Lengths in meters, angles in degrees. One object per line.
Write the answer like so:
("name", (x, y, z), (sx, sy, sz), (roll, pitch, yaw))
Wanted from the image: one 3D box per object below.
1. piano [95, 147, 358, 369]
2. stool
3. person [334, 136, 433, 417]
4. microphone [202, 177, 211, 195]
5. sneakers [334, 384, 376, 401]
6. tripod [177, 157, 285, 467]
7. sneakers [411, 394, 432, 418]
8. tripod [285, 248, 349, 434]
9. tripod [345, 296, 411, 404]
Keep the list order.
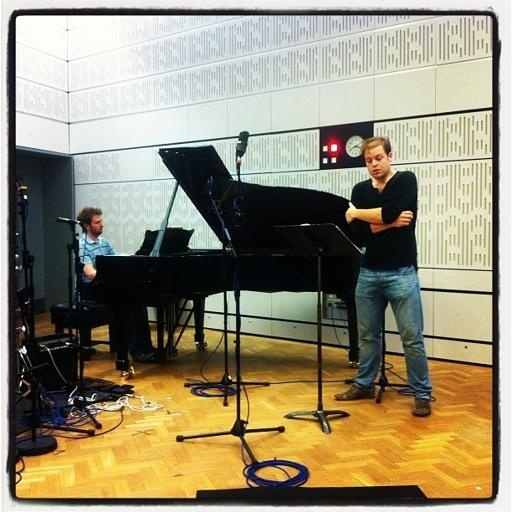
("piano", (-0.100, -0.027, 4.524), (1.758, 1.792, 1.116), (1, -1, 19))
("stool", (-1.528, 0.665, 5.074), (0.313, 0.534, 0.486), (4, 5, 14))
("person", (0.867, 0.129, 3.758), (0.615, 1.812, 0.333), (2, 5, 27))
("microphone", (-0.354, -0.487, 3.951), (0.029, 0.146, 0.087), (4, 25, -2))
("sneakers", (0.703, 0.976, 4.039), (0.303, 0.178, 0.118), (1, -6, -3))
("tripod", (-0.189, 0.446, 3.690), (0.540, 1.722, 0.698), (13, -42, -16))
("sneakers", (1.089, 0.989, 3.685), (0.081, 0.093, 0.219), (-2, -5, 14))
("tripod", (0.453, 0.485, 3.970), (0.419, 1.106, 1.260), (1, 5, 10))
("tripod", (1.008, 0.756, 4.334), (0.478, 0.855, 0.454), (-2, -3, 42))
